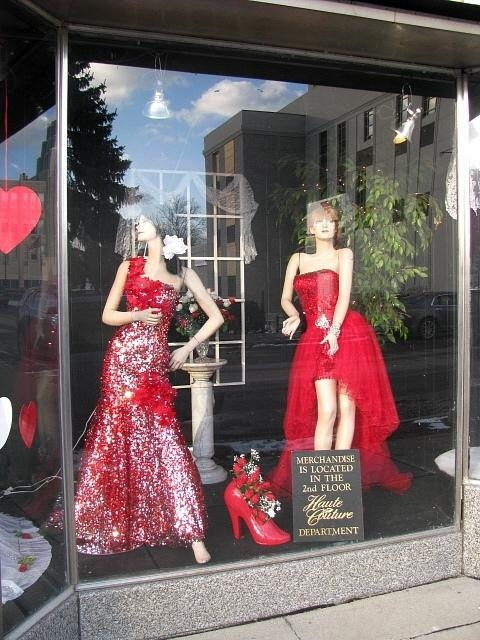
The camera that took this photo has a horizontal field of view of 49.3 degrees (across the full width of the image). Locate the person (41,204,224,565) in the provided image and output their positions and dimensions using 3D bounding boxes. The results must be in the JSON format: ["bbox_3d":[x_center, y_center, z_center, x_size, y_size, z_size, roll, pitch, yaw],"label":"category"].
[{"bbox_3d":[-0.349,0.262,2.057,0.585,1.343,0.224,-1,2,-13],"label":"person"}]

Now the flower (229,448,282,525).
[{"bbox_3d":[0.062,0.680,2.181,0.097,0.265,0.172,-46,-23,21],"label":"flower"}]

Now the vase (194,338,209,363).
[{"bbox_3d":[-0.161,0.135,2.220,0.080,0.117,0.075,-1,0,16],"label":"vase"}]

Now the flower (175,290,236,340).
[{"bbox_3d":[-0.162,-0.024,2.213,0.202,0.128,0.206,-11,9,28],"label":"flower"}]

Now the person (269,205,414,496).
[{"bbox_3d":[0.432,0.129,2.371,0.698,1.323,0.231,-2,2,-28],"label":"person"}]

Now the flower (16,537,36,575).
[{"bbox_3d":[-0.666,0.739,1.635,0.041,0.087,0.040,-4,-8,17],"label":"flower"}]

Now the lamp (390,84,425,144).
[{"bbox_3d":[0.783,-0.960,2.450,0.120,0.259,0.055,-1,2,-13],"label":"lamp"}]

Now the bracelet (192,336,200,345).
[{"bbox_3d":[-0.180,0.081,2.138,0.032,0.024,0.032,2,1,-2],"label":"bracelet"}]
